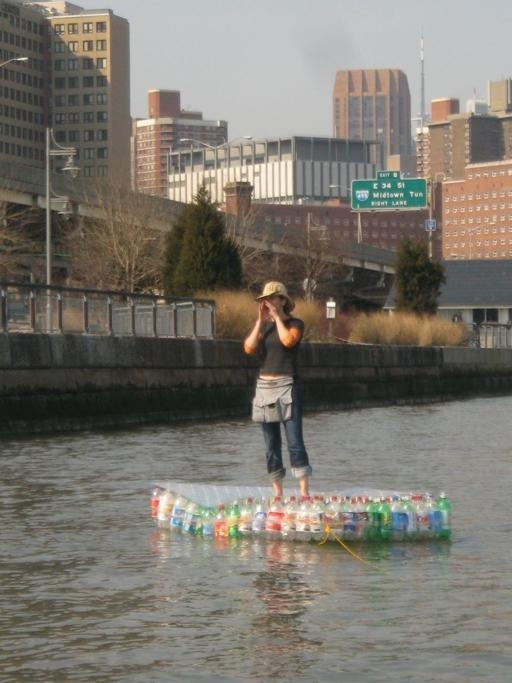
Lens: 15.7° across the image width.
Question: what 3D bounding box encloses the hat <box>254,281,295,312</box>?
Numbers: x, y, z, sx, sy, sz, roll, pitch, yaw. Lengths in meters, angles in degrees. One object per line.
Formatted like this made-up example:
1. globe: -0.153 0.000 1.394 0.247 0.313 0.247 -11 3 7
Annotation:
1. hat: 0.156 -0.376 13.893 0.200 0.182 0.293 4 -2 -3
